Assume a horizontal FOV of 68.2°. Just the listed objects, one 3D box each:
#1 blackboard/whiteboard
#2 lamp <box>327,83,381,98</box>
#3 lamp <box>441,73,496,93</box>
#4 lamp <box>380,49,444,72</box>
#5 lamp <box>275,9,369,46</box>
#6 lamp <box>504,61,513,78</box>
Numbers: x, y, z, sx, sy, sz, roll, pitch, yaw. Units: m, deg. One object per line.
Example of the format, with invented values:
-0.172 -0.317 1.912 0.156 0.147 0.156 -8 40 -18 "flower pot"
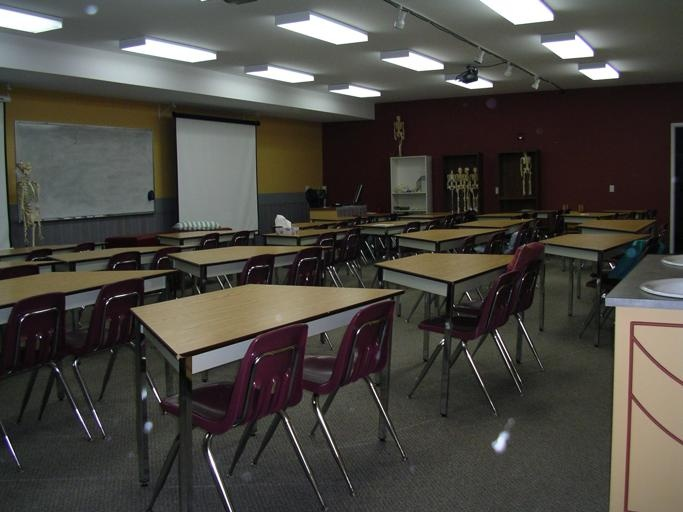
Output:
-4.531 -1.472 8.748 0.052 1.292 1.935 6 10 38 "blackboard/whiteboard"
0.286 -3.611 11.002 0.626 0.159 1.135 9 15 42 "lamp"
2.550 -3.497 10.149 0.627 0.168 0.711 5 5 32 "lamp"
1.209 -3.305 8.518 0.561 0.151 1.138 9 15 41 "lamp"
-0.246 -3.076 6.803 0.572 0.176 1.267 9 15 41 "lamp"
3.011 -3.297 9.057 0.129 0.316 1.570 3 12 18 "lamp"
